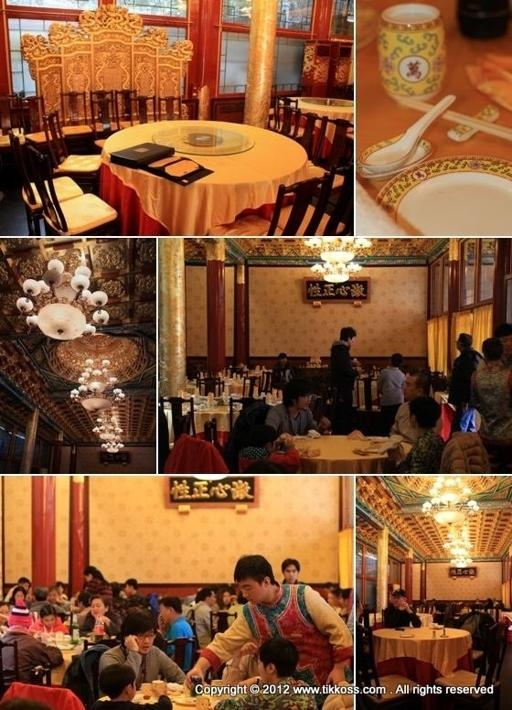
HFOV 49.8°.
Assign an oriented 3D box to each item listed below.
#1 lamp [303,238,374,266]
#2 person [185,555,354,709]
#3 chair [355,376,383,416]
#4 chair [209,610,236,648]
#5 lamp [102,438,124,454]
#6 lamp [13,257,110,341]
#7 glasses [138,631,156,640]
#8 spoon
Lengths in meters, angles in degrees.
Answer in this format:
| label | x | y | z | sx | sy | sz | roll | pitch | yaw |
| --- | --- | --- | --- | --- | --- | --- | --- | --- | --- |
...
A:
| label | x | y | z | sx | sy | sz | roll | pitch | yaw |
| --- | --- | --- | --- | --- | --- | --- | --- | --- | --- |
| lamp | 0.422 | -0.555 | 2.887 | 0.211 | 0.091 | 0.204 | 1 | 4 | 2 |
| person | 0.098 | 1.258 | 2.630 | 0.769 | 0.744 | 0.331 | -2 | 8 | -14 |
| chair | 0.593 | 0.207 | 2.859 | 0.188 | 0.207 | 0.120 | 2 | 15 | 12 |
| chair | -0.169 | 1.395 | 2.825 | 0.139 | 0.221 | 0.138 | 1 | 2 | 2 |
| lamp | -0.753 | 0.483 | 2.922 | 0.088 | 0.035 | 0.084 | 1 | -34 | -1 |
| lamp | -1.031 | -0.337 | 2.967 | 0.417 | 0.372 | 0.433 | -15 | -24 | 35 |
| glasses | -0.544 | 1.400 | 2.752 | 0.066 | 0.019 | 0.066 | 6 | -10 | -25 |
| spoon | 0.746 | -1.043 | 2.723 | 0.552 | 0.201 | 0.093 | -42 | -25 | 21 |
